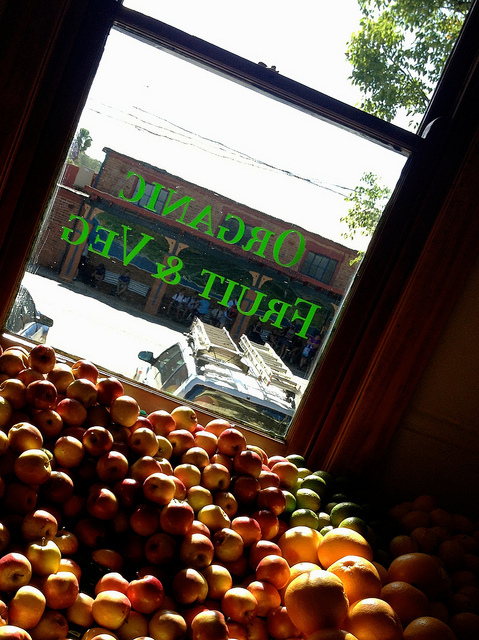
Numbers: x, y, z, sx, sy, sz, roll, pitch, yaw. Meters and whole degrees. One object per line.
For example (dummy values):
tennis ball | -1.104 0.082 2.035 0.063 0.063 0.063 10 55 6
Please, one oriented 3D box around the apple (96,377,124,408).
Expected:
apple | -0.291 0.164 1.329 0.042 0.043 0.048 25 -30 46

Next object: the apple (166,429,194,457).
apple | -0.133 0.275 1.352 0.056 0.052 0.057 24 26 33

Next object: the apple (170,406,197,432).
apple | -0.131 0.235 1.434 0.060 0.064 0.057 6 -4 22

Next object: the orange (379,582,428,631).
orange | 0.293 0.499 1.067 0.078 0.078 0.065 1 19 5

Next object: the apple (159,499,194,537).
apple | -0.116 0.369 1.119 0.066 0.069 0.061 5 -16 -2

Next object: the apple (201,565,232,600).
apple | -0.040 0.477 1.095 0.059 0.060 0.055 1 -8 13

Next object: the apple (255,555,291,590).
apple | 0.062 0.461 1.108 0.064 0.058 0.062 10 -22 -8

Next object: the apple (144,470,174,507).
apple | -0.155 0.324 1.152 0.059 0.056 0.057 -19 -23 15

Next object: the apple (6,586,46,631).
apple | -0.340 0.456 0.944 0.043 0.054 0.042 31 14 -22

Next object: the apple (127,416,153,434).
apple | -0.223 0.235 1.327 0.039 0.033 0.035 1 -27 7

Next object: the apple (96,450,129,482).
apple | -0.254 0.292 1.192 0.063 0.056 0.071 21 1 -6

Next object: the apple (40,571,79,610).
apple | -0.302 0.448 0.989 0.061 0.052 0.031 22 8 -13

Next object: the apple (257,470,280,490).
apple | 0.061 0.356 1.325 0.061 0.052 0.057 1 3 4

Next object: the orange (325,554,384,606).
orange | 0.202 0.457 1.053 0.080 0.075 0.075 11 -25 10

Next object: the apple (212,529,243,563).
apple | -0.023 0.431 1.147 0.063 0.057 0.061 1 -7 -2

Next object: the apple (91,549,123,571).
apple | -0.243 0.438 1.097 0.059 0.030 0.027 22 8 -3

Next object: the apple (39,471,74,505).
apple | -0.345 0.318 1.135 0.062 0.053 0.057 16 43 -25

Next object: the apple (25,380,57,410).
apple | -0.417 0.159 1.251 0.066 0.051 0.040 22 8 -9

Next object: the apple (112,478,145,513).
apple | -0.216 0.340 1.168 0.064 0.054 0.061 15 -12 -36

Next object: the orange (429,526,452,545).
orange | 0.453 0.488 1.359 0.037 0.039 0.035 -4 6 4

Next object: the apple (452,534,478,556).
apple | 0.512 0.506 1.360 0.049 0.043 0.047 2 8 25

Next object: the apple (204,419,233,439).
apple | -0.052 0.257 1.441 0.056 0.041 0.044 14 2 -16

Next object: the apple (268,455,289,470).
apple | 0.092 0.347 1.467 0.029 0.025 0.032 0 31 -14

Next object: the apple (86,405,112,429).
apple | -0.303 0.210 1.296 0.051 0.057 0.046 0 -36 -9

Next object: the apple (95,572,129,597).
apple | -0.218 0.450 1.026 0.041 0.043 0.038 8 28 -6

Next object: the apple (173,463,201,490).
apple | -0.110 0.330 1.267 0.046 0.042 0.046 2 -23 34

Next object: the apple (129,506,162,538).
apple | -0.177 0.376 1.123 0.063 0.054 0.059 0 2 6

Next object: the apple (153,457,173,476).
apple | -0.159 0.305 1.262 0.040 0.035 0.037 -1 3 2

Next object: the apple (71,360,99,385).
apple | -0.352 0.117 1.361 0.056 0.051 0.053 24 0 -16

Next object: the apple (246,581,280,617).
apple | 0.045 0.498 1.080 0.061 0.057 0.060 9 -15 16

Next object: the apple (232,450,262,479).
apple | 0.013 0.317 1.317 0.061 0.053 0.056 0 18 -5

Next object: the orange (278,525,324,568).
orange | 0.123 0.460 1.230 0.085 0.088 0.082 5 7 -20

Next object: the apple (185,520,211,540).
apple | -0.078 0.400 1.149 0.041 0.043 0.038 -2 -7 6

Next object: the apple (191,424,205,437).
apple | -0.103 0.273 1.480 0.020 0.018 0.018 19 32 -2

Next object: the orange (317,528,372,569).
orange | 0.195 0.431 1.150 0.084 0.087 0.077 -2 29 1

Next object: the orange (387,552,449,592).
orange | 0.356 0.483 1.199 0.073 0.074 0.086 1 -47 42
